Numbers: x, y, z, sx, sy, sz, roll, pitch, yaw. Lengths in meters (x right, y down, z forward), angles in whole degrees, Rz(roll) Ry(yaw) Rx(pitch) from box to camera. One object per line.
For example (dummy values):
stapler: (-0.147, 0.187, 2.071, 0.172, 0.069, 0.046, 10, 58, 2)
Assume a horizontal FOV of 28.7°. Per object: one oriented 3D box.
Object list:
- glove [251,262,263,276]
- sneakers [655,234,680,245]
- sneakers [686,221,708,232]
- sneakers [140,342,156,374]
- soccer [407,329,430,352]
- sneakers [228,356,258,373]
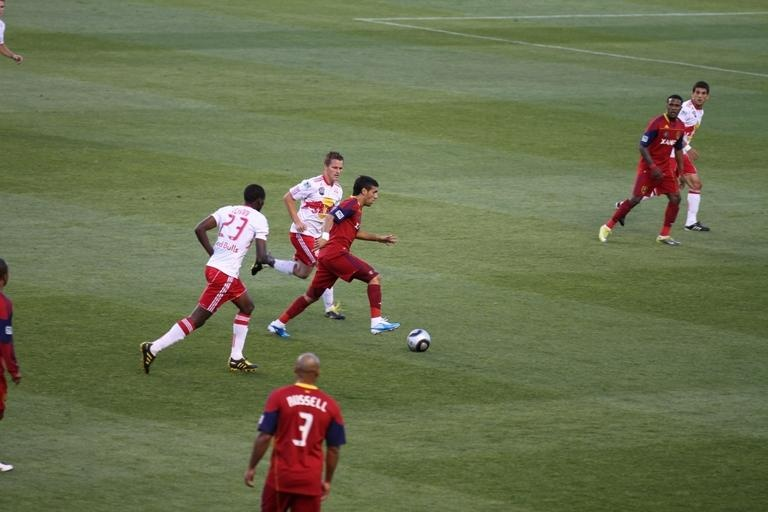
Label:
glove: (-2.223, 0.231, 26.144, 0.209, 0.256, 0.112, 15, 51, -44)
sneakers: (5.563, -0.322, 29.463, 0.523, 0.161, 0.163, 6, 22, -1)
sneakers: (6.295, -0.576, 30.252, 0.554, 0.162, 0.164, 0, 9, 1)
sneakers: (-3.804, 1.661, 24.482, 0.333, 0.486, 0.205, 0, 15, 7)
soccer: (0.610, 1.430, 25.400, 0.424, 0.396, 0.353, 10, 11, -6)
sneakers: (-2.348, 1.806, 24.720, 0.574, 0.199, 0.183, 1, 6, -6)
